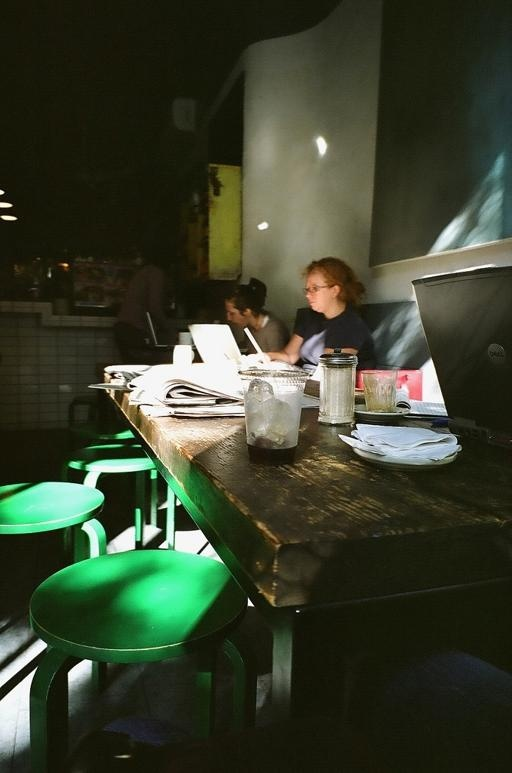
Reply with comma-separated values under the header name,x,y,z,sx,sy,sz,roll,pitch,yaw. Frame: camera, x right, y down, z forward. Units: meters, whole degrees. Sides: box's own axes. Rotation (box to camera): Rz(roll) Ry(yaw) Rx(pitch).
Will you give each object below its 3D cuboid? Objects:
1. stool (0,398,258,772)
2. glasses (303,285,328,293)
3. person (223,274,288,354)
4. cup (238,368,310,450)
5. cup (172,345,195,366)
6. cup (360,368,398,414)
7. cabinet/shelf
name,x,y,z,sx,sy,sz,roll,pitch,yaw
stool,-0.195,0.334,0.889,0.253,0.190,0.259,8,10,41
glasses,0.334,-0.545,3.355,0.092,0.027,0.090,-4,3,-29
person,0.015,-0.512,4.570,0.544,0.791,0.819,0,5,2
cup,0.025,0.026,0.818,0.094,0.099,0.096,-1,6,0
cup,-0.237,-0.103,1.967,0.079,0.089,0.080,0,2,0
cup,0.234,0.006,1.141,0.075,0.083,0.074,-3,6,0
cabinet/shelf,-0.449,-1.600,5.806,0.395,0.972,1.504,0,10,-13
